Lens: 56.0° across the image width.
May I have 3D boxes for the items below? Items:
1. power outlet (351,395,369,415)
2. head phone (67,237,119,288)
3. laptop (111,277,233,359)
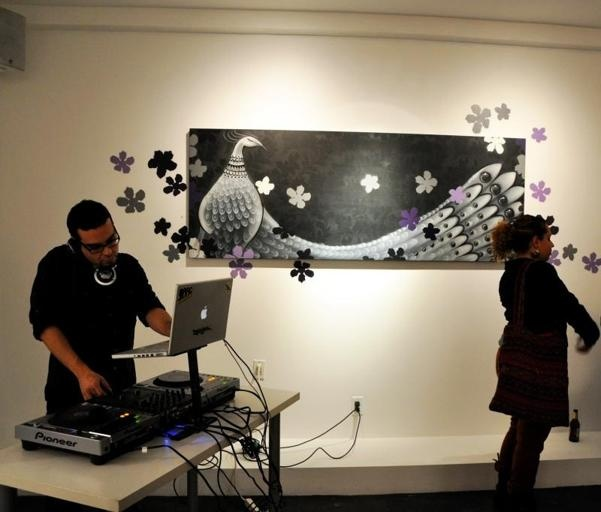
[{"bbox_3d":[0.441,1.071,4.135,0.108,0.234,0.115,-2,-4,26],"label":"power outlet"},{"bbox_3d":[-1.120,0.036,3.155,0.198,0.335,0.121,0,3,3],"label":"head phone"},{"bbox_3d":[-0.616,0.168,2.786,0.379,0.422,0.528,1,3,22],"label":"laptop"}]
